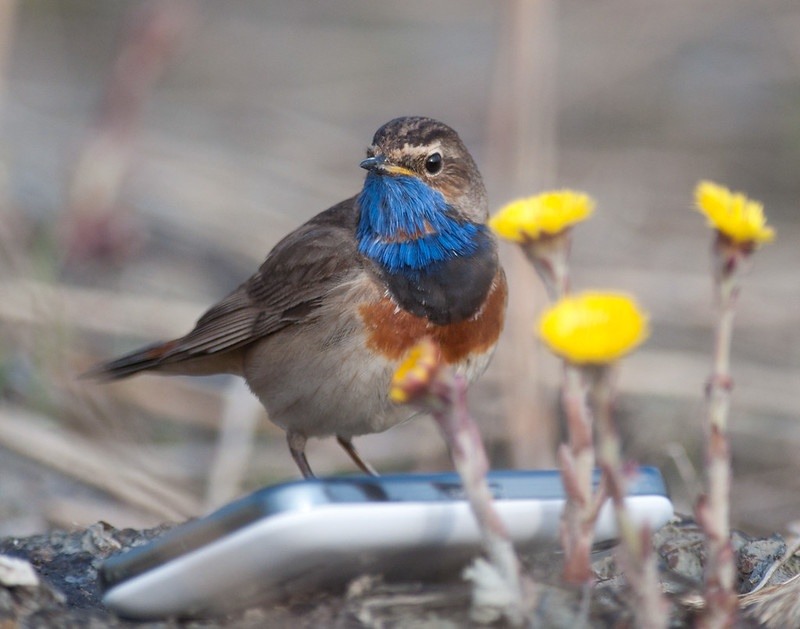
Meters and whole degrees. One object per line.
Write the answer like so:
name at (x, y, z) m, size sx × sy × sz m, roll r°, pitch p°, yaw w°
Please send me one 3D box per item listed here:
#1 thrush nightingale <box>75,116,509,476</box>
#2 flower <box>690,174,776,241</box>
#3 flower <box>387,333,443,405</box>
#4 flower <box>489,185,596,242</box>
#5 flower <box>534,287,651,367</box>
thrush nightingale at (-0.187, -0.053, 3.097) m, size 0.910 × 0.990 × 0.418 m, roll 3°, pitch 3°, yaw 30°
flower at (0.646, -0.199, 2.153) m, size 0.144 × 0.125 × 0.202 m, roll 2°, pitch 3°, yaw 14°
flower at (0.030, 0.097, 1.891) m, size 0.079 × 0.100 × 0.092 m, roll 1°, pitch 3°, yaw 5°
flower at (0.271, -0.189, 2.124) m, size 0.193 × 0.109 × 0.145 m, roll 1°, pitch 3°, yaw 5°
flower at (0.347, 0.011, 2.014) m, size 0.226 × 0.056 × 0.249 m, roll 2°, pitch 31°, yaw 10°
